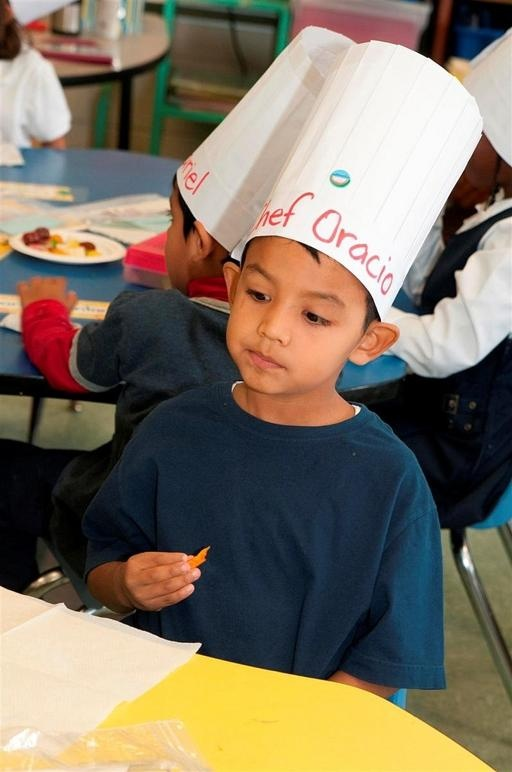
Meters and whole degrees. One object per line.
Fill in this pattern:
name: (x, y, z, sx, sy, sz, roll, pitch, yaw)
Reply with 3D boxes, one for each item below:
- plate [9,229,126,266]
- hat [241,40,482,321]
plate: (-0.375, -0.283, 1.347, 0.140, 0.017, 0.133, -2, 28, -20)
hat: (0.131, -0.227, 0.718, 0.160, 0.252, 0.200, 45, 27, 28)
